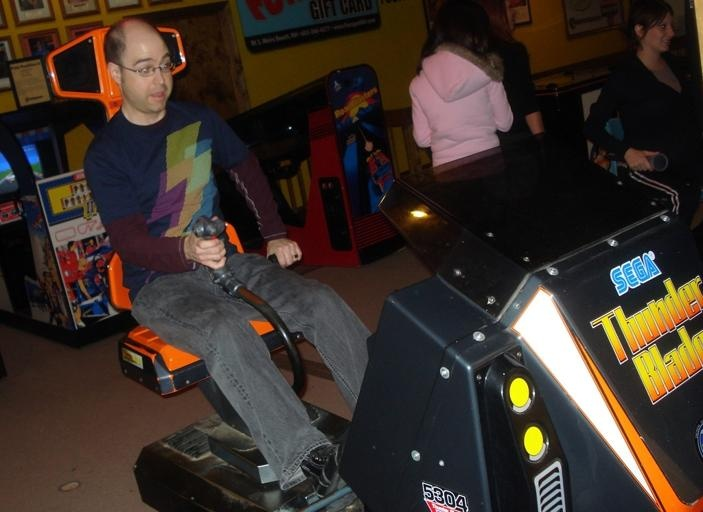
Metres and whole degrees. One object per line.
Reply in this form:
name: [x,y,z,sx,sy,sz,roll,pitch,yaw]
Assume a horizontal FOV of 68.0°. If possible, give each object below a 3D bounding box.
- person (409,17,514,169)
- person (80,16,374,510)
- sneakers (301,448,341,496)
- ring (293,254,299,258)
person: [0.473,-0.690,2.364,0.489,0.755,0.281,-10,-16,5]
person: [-0.459,-0.067,1.866,0.732,1.505,1.115,-20,26,-24]
sneakers: [-0.094,0.678,1.651,0.129,0.135,0.086,-14,24,-12]
ring: [-0.216,-0.001,1.990,0.018,0.014,0.004,11,-10,-41]
